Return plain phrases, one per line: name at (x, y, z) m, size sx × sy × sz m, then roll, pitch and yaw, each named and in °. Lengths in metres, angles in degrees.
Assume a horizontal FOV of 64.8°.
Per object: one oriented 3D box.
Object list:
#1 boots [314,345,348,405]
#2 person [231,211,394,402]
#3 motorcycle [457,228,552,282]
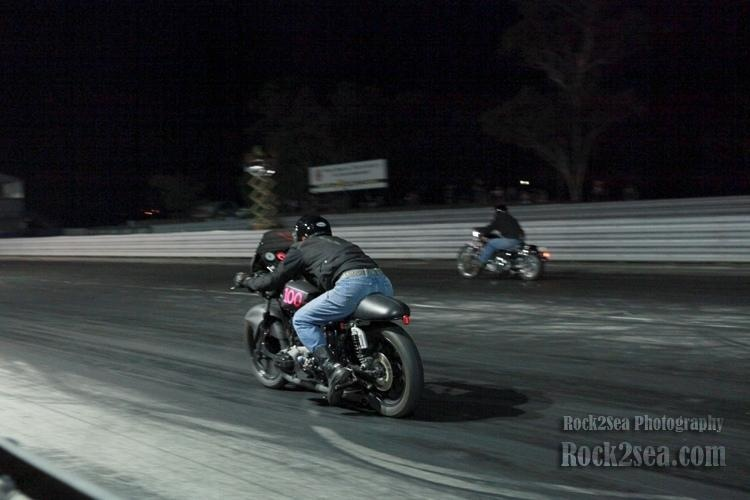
boots at (-0.419, 1.209, 5.650) m, size 0.215 × 0.587 × 0.393 m, roll -6°, pitch 4°, yaw -22°
person at (-0.515, 0.646, 5.872) m, size 1.158 × 1.581 × 0.636 m, roll -1°, pitch 5°, yaw 32°
motorcycle at (3.468, 0.076, 16.350) m, size 2.483 × 1.380 × 1.095 m, roll 0°, pitch 5°, yaw 37°
